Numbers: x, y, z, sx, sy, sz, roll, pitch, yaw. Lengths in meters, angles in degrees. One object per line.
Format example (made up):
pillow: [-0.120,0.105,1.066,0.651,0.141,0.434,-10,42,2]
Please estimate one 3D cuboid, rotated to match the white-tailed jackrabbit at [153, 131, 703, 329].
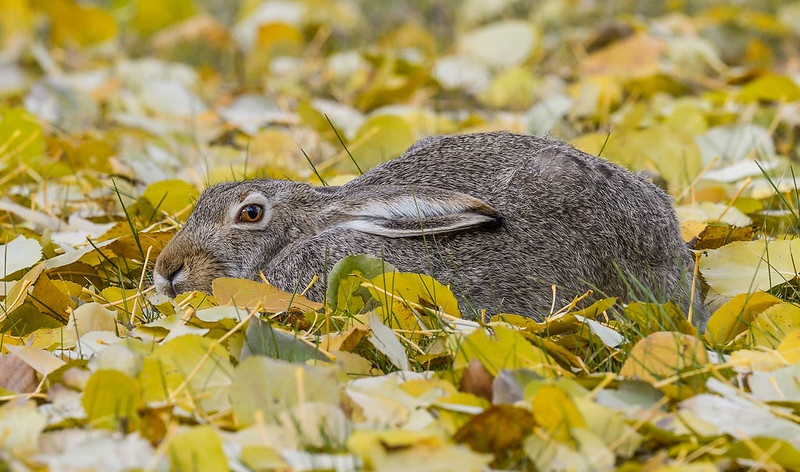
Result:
white-tailed jackrabbit: [0.111,0.033,4.192,2.277,0.981,0.823,-7,97,6]
